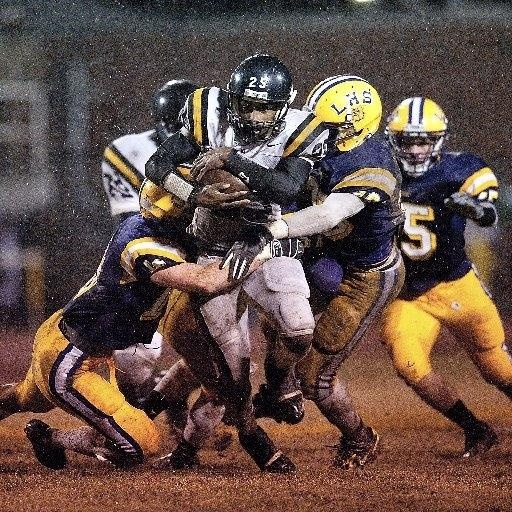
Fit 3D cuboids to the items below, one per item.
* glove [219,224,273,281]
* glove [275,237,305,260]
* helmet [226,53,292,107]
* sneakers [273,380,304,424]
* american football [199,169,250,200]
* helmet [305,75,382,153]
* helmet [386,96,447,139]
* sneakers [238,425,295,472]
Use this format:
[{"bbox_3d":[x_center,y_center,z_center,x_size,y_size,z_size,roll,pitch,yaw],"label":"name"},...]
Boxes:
[{"bbox_3d":[-0.024,-0.020,3.870,0.195,0.256,0.077,-2,-32,35],"label":"glove"},{"bbox_3d":[0.146,-0.030,4.002,0.151,0.088,0.046,0,1,-44],"label":"glove"},{"bbox_3d":[0.011,-0.764,3.835,0.263,0.198,0.226,-25,45,-35],"label":"helmet"},{"bbox_3d":[0.104,0.708,4.283,0.159,0.192,0.216,1,-19,-6],"label":"sneakers"},{"bbox_3d":[-0.125,-0.310,3.762,0.167,0.058,0.118,28,6,-5],"label":"american football"},{"bbox_3d":[0.443,-0.686,4.331,0.490,0.332,0.329,-8,15,-10],"label":"helmet"},{"bbox_3d":[0.844,-0.722,4.704,0.236,0.179,0.277,-1,8,40],"label":"helmet"},{"bbox_3d":[0.047,0.985,4.552,0.342,0.111,0.147,37,-34,-6],"label":"sneakers"}]
